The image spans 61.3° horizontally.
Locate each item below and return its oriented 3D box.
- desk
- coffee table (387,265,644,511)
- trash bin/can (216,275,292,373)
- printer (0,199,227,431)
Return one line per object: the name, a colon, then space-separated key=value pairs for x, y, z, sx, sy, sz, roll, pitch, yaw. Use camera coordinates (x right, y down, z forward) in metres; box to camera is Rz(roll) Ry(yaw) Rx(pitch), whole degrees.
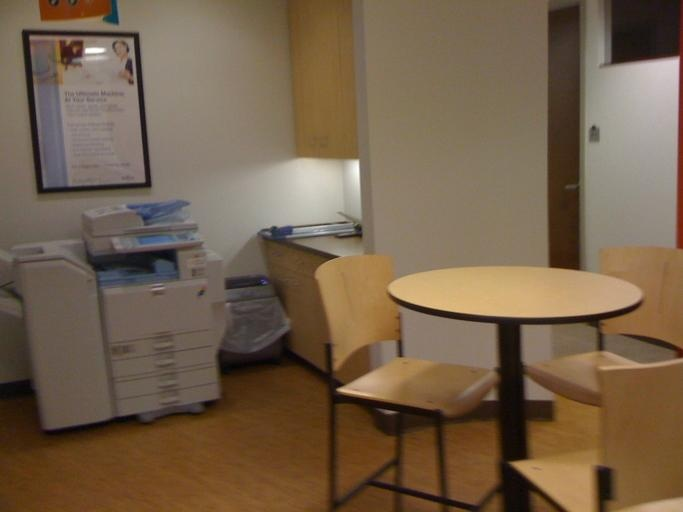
desk: x=-0.175 y=0.319 z=3.423 sx=0.446 sy=0.622 sz=0.861 roll=-8 pitch=15 yaw=-34
coffee table: x=0.604 y=0.470 z=2.438 sx=0.959 sy=1.086 sz=0.945 roll=-2 pitch=9 yaw=-4
trash bin/can: x=-0.631 y=0.497 z=4.096 sx=0.460 sy=0.590 sz=0.503 roll=-3 pitch=-7 yaw=-9
printer: x=-1.347 y=0.391 z=3.376 sx=1.231 sy=1.395 sz=0.755 roll=-5 pitch=7 yaw=-34
